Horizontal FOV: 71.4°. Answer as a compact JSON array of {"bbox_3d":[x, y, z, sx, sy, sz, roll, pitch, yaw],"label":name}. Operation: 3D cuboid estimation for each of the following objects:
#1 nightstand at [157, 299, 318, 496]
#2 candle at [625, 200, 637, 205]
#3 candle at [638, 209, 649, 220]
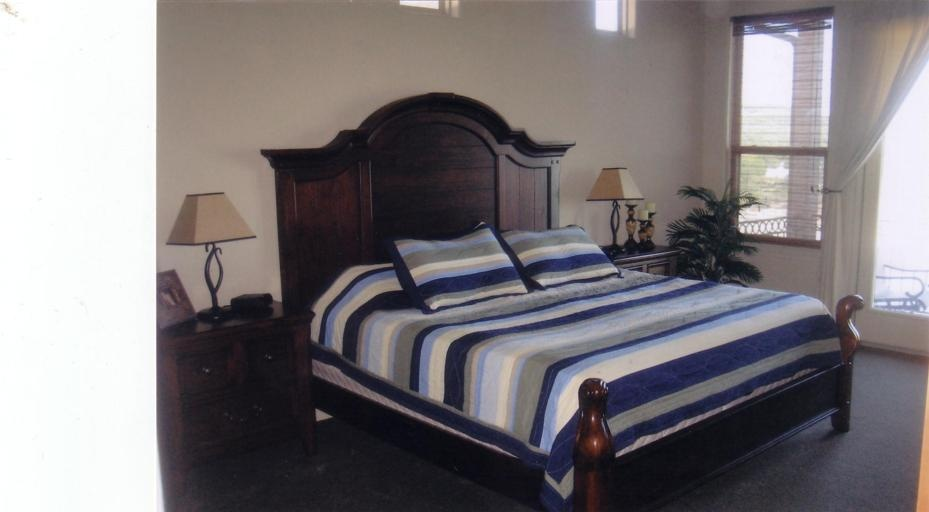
[{"bbox_3d":[-1.164,0.696,3.189,0.416,0.806,0.897,7,13,37],"label":"nightstand"},{"bbox_3d":[1.347,-0.432,5.253,0.076,0.042,0.073,0,1,11],"label":"candle"},{"bbox_3d":[1.447,-0.337,5.257,0.084,0.085,0.080,4,-8,-16],"label":"candle"}]
